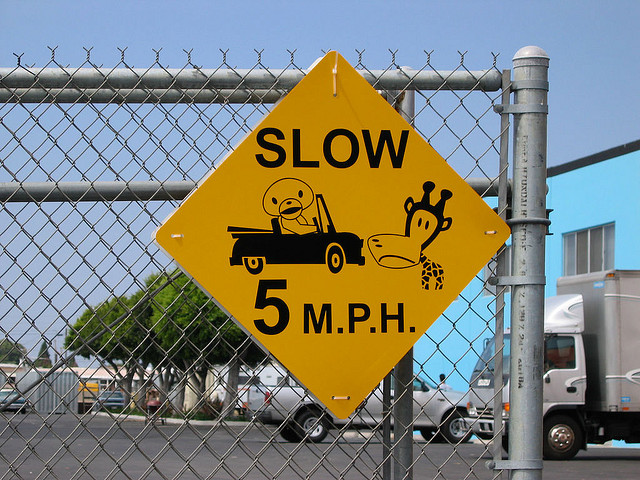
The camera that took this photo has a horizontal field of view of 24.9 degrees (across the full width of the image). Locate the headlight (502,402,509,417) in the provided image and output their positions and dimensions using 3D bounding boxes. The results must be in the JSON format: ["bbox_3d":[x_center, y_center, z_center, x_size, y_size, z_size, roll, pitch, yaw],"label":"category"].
[{"bbox_3d":[3.271,2.965,25.622,0.079,0.263,0.441,0,-9,13],"label":"headlight"}]
